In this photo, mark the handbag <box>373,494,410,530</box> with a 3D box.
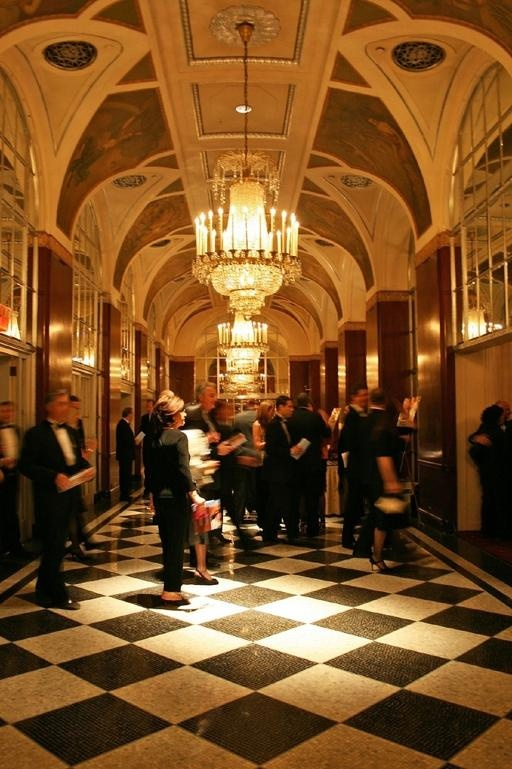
[{"bbox_3d":[1.088,1.032,4.607,0.279,0.314,0.566,-1,-3,11],"label":"handbag"}]

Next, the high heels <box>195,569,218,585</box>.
[{"bbox_3d":[-0.398,1.524,4.535,0.163,0.069,0.088,5,-7,14],"label":"high heels"}]
